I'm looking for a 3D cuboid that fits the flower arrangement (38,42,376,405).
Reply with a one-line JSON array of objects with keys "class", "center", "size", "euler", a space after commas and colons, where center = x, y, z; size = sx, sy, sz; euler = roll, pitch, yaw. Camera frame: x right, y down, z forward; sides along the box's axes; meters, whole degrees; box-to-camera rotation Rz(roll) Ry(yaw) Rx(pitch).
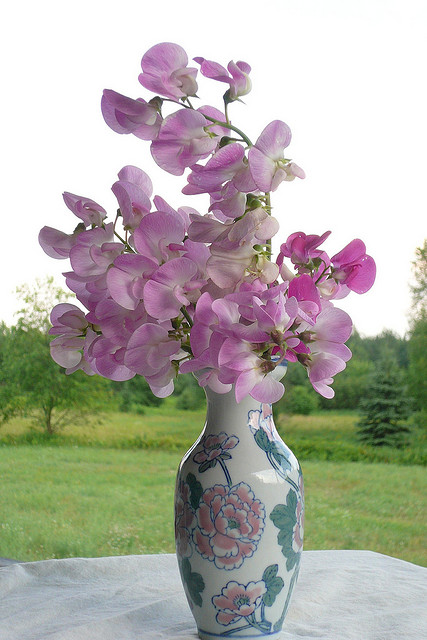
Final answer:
[{"class": "flower arrangement", "center": [-0.034, -0.077, 0.630], "size": [0.325, 0.333, 0.241], "euler": [-9, -17, 28]}]
